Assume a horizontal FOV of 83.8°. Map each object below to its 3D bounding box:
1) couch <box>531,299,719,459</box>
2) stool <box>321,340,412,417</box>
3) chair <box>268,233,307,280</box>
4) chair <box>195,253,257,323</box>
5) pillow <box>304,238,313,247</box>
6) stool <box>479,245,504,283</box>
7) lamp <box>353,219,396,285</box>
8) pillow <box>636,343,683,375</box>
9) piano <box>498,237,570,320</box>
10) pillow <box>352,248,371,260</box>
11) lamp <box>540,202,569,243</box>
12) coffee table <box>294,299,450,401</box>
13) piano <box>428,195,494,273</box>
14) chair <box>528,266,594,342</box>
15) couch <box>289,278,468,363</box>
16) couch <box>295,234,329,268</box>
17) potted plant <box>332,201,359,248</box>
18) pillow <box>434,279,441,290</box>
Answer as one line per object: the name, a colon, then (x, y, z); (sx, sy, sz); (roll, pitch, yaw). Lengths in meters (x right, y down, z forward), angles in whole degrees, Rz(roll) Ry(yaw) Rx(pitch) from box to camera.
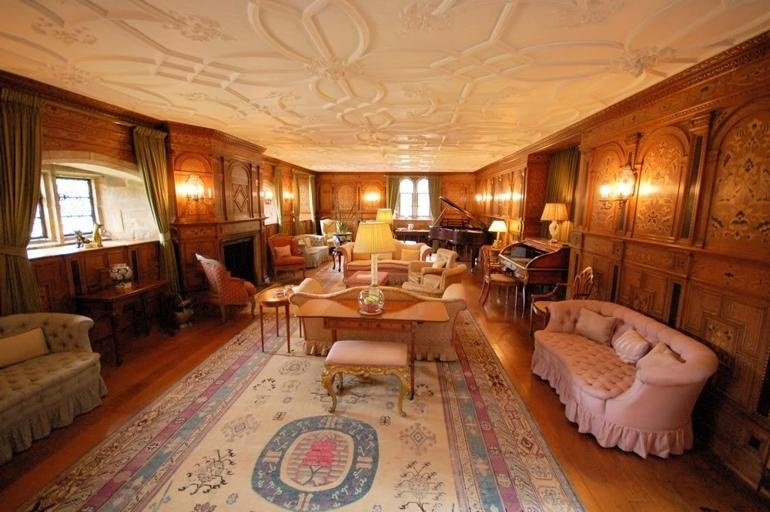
couch: (3.101, 1.456, 5.955); (1.570, 1.145, 2.567); (0, 12, -2)
stool: (-0.253, 1.718, 5.668); (1.104, 0.746, 0.813); (1, -16, -1)
chair: (-2.401, 0.016, 10.339); (0.900, 0.985, 0.928); (0, 9, 9)
chair: (-2.903, 0.532, 7.901); (0.920, 1.174, 0.985); (8, 12, 32)
pillow: (-2.198, -0.384, 12.103); (0.038, 0.174, 0.286); (-8, 7, 16)
stool: (2.361, 0.163, 9.456); (0.296, 0.482, 0.881); (-3, 13, 3)
lamp: (-0.170, 0.004, 6.136); (0.674, 0.929, 0.662); (-1, 7, 5)
pillow: (3.291, 1.214, 5.151); (0.369, 0.135, 0.362); (-34, 8, 32)
piano: (2.942, 0.310, 8.899); (0.875, 1.256, 2.050); (6, 8, -1)
pillow: (-0.483, -0.029, 8.002); (0.275, 0.179, 0.095); (-1, -26, -3)
lamp: (3.278, -0.640, 8.341); (0.530, 0.733, 0.522); (3, 3, -2)
coffee table: (-0.172, 1.335, 5.996); (2.055, 1.145, 0.834); (2, 1, 7)
piano: (2.149, -0.724, 12.547); (1.858, 1.938, 1.533); (10, 9, 24)
chair: (2.803, 0.766, 6.983); (0.897, 1.224, 0.763); (7, 5, 10)
couch: (-0.187, 1.027, 6.703); (2.773, 1.165, 1.055); (9, -21, -10)
couch: (-2.131, -0.182, 12.310); (0.621, 0.751, 1.645); (3, 10, 10)
potted plant: (-1.380, -0.990, 15.343); (0.843, 1.434, 0.746); (-24, 30, -39)
pillow: (0.944, 0.538, 7.788); (0.088, 0.183, 0.111); (-3, 25, -7)
